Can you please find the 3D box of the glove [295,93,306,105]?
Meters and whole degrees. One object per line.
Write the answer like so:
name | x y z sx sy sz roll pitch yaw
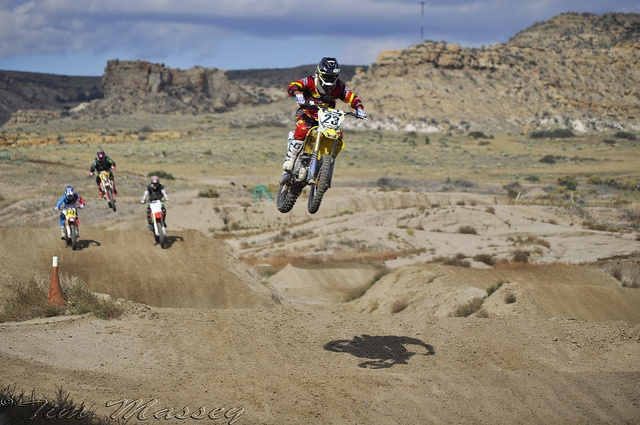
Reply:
glove | -0.796 -4.566 33.351 0.379 0.405 0.491 -1 14 -12

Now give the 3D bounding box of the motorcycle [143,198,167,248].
motorcycle | -7.544 0.489 38.388 0.745 1.896 1.452 -1 14 -12

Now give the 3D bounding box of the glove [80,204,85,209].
glove | -11.285 -0.321 39.269 0.188 0.186 0.062 0 15 -9

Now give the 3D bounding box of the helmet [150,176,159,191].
helmet | -7.740 -1.481 38.812 0.400 0.453 0.546 1 28 -13
